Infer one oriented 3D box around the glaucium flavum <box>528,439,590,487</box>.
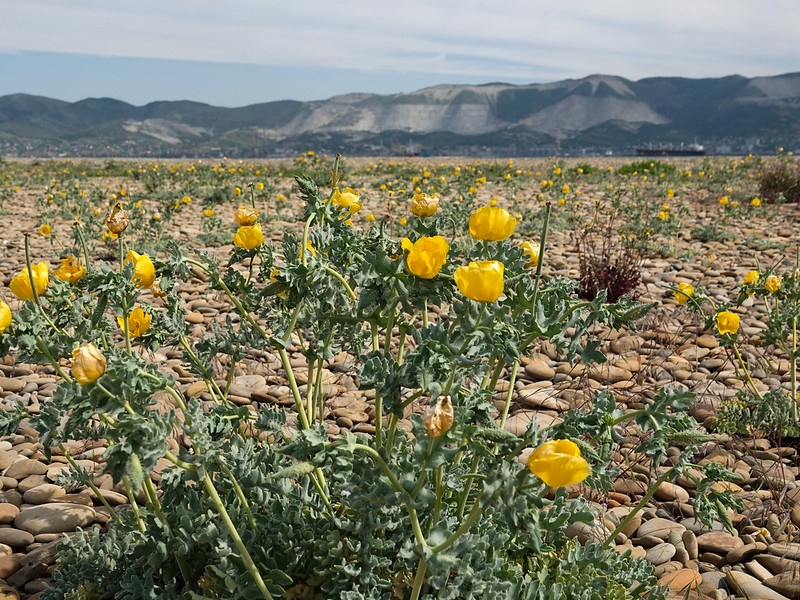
[{"bbox_3d":[0.420,0.434,1.797,0.141,0.093,0.124,27,33,18],"label":"glaucium flavum"}]
